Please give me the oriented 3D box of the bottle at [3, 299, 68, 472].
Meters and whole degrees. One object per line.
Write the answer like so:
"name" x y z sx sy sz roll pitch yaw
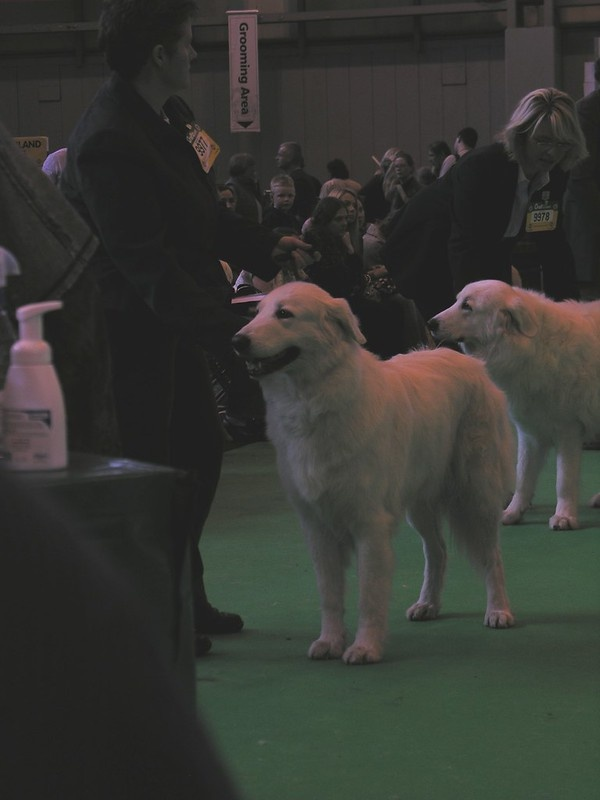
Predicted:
"bottle" -0.441 0.007 1.591 0.099 0.201 0.150 -2 8 -17

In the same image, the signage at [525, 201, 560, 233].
"signage" 1.374 -1.043 5.511 0.198 0.188 0.038 -5 48 3

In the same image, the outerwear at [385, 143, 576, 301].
"outerwear" 1.017 -1.059 6.039 1.228 1.053 0.907 0 2 30

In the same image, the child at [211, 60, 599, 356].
"child" 0.566 -1.115 6.542 1.166 1.743 3.447 -18 9 -12

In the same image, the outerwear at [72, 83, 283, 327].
"outerwear" -0.384 -0.523 2.835 0.494 0.693 0.591 6 27 8
